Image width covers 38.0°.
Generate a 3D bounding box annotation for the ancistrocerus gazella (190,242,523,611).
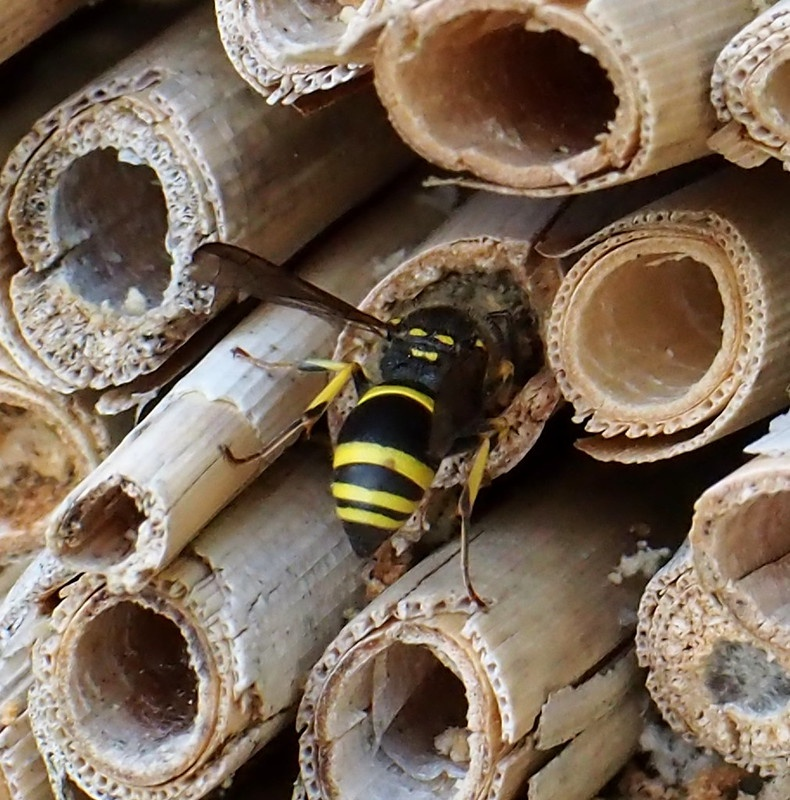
[{"bbox_3d":[-0.069,0.098,1.668,0.435,0.510,0.230,-66,5,-33],"label":"ancistrocerus gazella"}]
